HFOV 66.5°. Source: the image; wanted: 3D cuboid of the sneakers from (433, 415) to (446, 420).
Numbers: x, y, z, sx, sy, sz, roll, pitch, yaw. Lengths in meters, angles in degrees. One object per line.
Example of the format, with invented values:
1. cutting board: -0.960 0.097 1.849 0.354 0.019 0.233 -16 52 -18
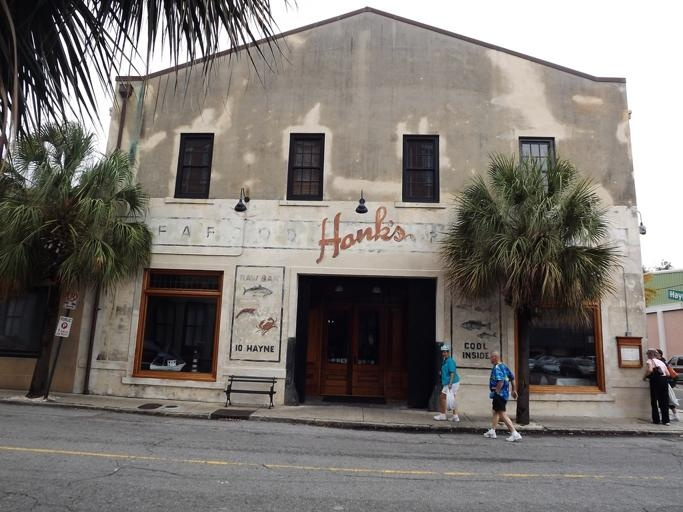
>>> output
1. sneakers: 2.636 4.251 13.785 0.232 0.113 0.151 -1 -7 15

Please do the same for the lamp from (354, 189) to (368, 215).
1. lamp: 0.640 -1.692 15.977 0.370 0.765 0.312 1 -6 6

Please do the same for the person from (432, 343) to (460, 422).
1. person: 2.846 3.347 13.964 0.661 1.939 0.961 1 -6 11

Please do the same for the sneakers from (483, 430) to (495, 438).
1. sneakers: 3.522 4.175 12.323 0.292 0.200 0.108 -2 -6 38

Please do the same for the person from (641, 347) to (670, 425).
1. person: 8.848 3.581 14.480 0.546 1.921 0.894 -1 -7 23

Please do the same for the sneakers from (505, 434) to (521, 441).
1. sneakers: 3.925 4.097 11.864 0.367 0.191 0.146 -8 -8 14

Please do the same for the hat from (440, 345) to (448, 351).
1. hat: 2.824 2.433 14.033 0.168 0.131 0.257 -2 -15 13

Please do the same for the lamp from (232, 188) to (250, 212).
1. lamp: -3.100 -1.780 16.193 0.463 0.822 0.349 2 -6 -4
